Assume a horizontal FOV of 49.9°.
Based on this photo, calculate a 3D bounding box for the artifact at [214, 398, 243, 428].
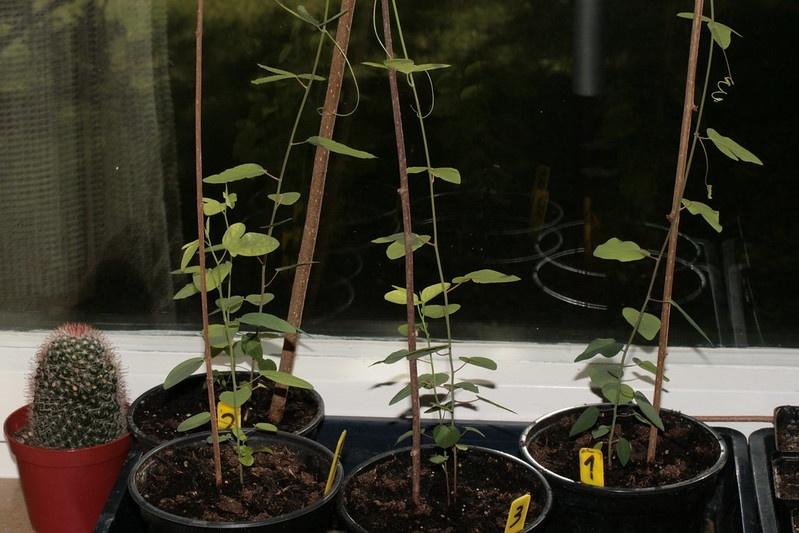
[{"bbox_3d":[-0.467,0.397,2.340,0.067,0.110,0.063,9,51,0],"label":"artifact"}]

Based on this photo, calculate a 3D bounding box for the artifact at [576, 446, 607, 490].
[{"bbox_3d":[0.504,0.525,2.261,0.069,0.091,0.051,2,10,17],"label":"artifact"}]
